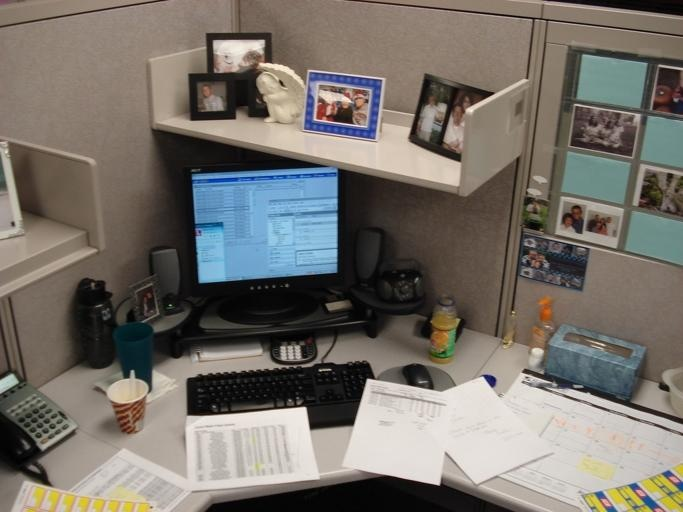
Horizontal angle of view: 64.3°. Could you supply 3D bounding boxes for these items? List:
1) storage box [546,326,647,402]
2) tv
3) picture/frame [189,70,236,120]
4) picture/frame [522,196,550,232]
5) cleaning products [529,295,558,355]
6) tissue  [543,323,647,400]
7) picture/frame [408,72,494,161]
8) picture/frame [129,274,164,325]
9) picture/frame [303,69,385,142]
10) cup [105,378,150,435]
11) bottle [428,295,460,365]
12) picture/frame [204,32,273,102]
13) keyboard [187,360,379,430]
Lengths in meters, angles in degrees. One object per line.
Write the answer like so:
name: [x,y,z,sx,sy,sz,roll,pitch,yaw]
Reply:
storage box: [0.781,0.326,1.668,0.256,0.122,0.145,15,33,40]
tv: [-0.253,-0.054,1.816,0.541,0.505,0.294,-5,16,-28]
picture/frame: [-0.416,-0.518,1.744,0.161,0.158,0.015,-4,17,-13]
picture/frame: [0.597,-0.132,1.666,0.086,0.116,0.012,17,36,32]
cleaning products: [0.658,0.224,1.766,0.067,0.167,0.069,4,3,-44]
tissue : [0.779,0.327,1.670,0.257,0.122,0.147,14,32,40]
picture/frame: [0.304,-0.402,1.575,0.020,0.200,0.237,-6,25,-39]
picture/frame: [-0.606,0.143,1.698,0.014,0.169,0.124,14,21,41]
picture/frame: [0.004,-0.452,1.663,0.217,0.158,0.016,13,14,14]
cup: [-0.576,0.423,1.475,0.108,0.109,0.103,1,8,0]
bottle: [0.330,0.247,1.758,0.095,0.206,0.093,3,11,-1]
picture/frame: [-0.325,-0.592,1.757,0.221,0.272,0.021,-2,-10,-4]
keyboard: [-0.176,0.370,1.647,0.515,0.199,0.134,-1,17,-10]
